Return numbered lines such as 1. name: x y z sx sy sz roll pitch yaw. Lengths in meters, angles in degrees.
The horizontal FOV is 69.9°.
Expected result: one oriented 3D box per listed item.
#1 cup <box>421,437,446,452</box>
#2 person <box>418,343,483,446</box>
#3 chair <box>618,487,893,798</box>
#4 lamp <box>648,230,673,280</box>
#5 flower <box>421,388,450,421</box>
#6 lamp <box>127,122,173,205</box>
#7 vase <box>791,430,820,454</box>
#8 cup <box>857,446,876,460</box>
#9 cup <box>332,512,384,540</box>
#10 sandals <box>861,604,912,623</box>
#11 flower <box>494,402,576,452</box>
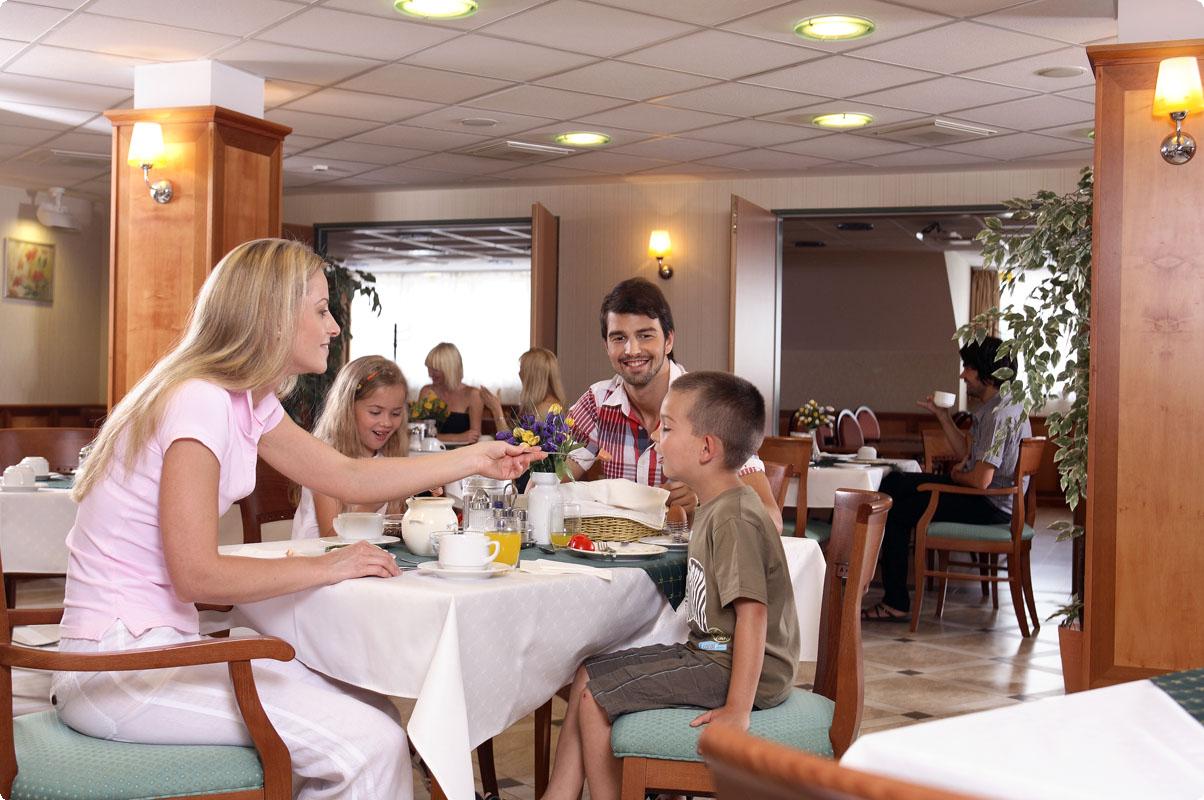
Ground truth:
1. cup: -1.084 0.290 5.532 0.117 0.100 0.114 2 -5 0
2. person: -1.429 -0.050 8.038 0.607 0.893 0.591 6 10 19
3. chair: 0.449 0.643 2.591 0.901 1.083 0.742 2 -7 1
4. lamp: 0.619 -1.484 8.803 0.249 0.513 0.176 1 3 3
5. flower: -1.496 0.047 7.634 0.288 0.285 0.261 1 4 -3
6. lamp: -3.126 -1.640 5.903 0.285 0.567 0.176 2 3 8
7. vase: 1.477 0.299 6.206 0.182 0.185 0.181 5 8 36
8. cup: 2.066 0.418 6.664 0.123 0.070 0.117 1 -8 0
9. cup: -0.734 0.370 2.561 0.113 0.052 0.083 -2 3 -17
10. sandals: 1.956 1.467 5.906 0.335 0.079 0.117 1 4 32
11. flower: -0.184 0.095 2.631 0.184 0.101 0.174 1 -7 4
